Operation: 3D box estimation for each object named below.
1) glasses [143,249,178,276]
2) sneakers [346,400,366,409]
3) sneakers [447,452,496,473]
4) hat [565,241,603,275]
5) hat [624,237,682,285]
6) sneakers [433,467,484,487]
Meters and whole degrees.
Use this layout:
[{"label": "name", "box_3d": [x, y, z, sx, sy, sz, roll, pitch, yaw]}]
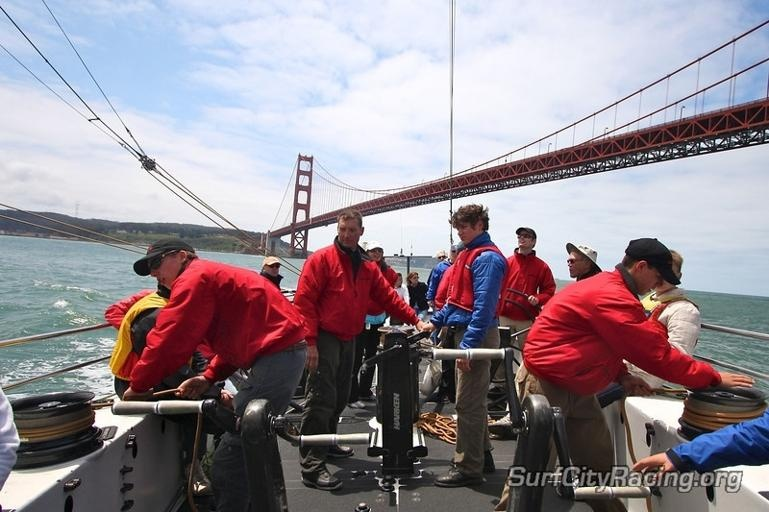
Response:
[{"label": "glasses", "box_3d": [-1.412, 0.026, 3.078, 0.178, 0.052, 0.175, -26, 11, 10]}, {"label": "sneakers", "box_3d": [-0.300, 1.557, 5.040, 0.185, 0.080, 0.073, -9, -12, 27]}, {"label": "sneakers", "box_3d": [0.679, 1.564, 3.665, 0.412, 0.177, 0.138, 29, -32, -35]}, {"label": "hat", "box_3d": [1.218, 0.036, 2.969, 0.175, 0.065, 0.147, 28, -34, 4]}, {"label": "hat", "box_3d": [1.539, 0.037, 2.815, 0.233, 0.256, 0.250, -2, 2, 28]}, {"label": "sneakers", "box_3d": [0.527, 1.606, 3.542, 0.365, 0.164, 0.131, 3, -17, -1]}]
